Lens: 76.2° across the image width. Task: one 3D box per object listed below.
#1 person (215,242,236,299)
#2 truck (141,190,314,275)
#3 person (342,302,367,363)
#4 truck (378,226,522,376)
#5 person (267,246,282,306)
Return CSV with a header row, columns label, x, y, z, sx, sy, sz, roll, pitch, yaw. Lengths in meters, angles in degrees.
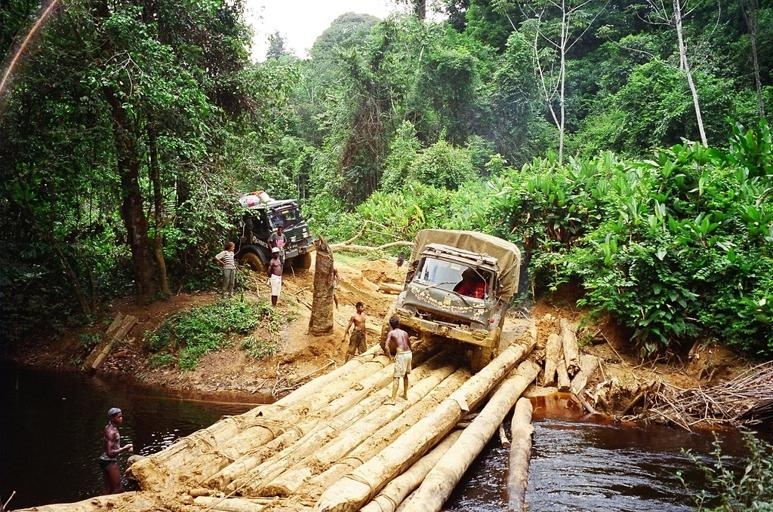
label,x,y,z,sx,sy,sz,roll,pitch,yaw
person,-5.762,0.479,17.679,0.605,1.971,1.000,-4,12,-20
truck,-6.341,-0.795,21.579,5.954,3.656,3.230,-3,10,28
person,-0.941,2.211,14.800,0.645,1.845,1.109,-1,11,-4
truck,2.414,1.134,16.300,3.170,3.961,6.213,12,6,12
person,-4.054,0.733,17.765,0.397,1.902,1.365,-3,12,-14
